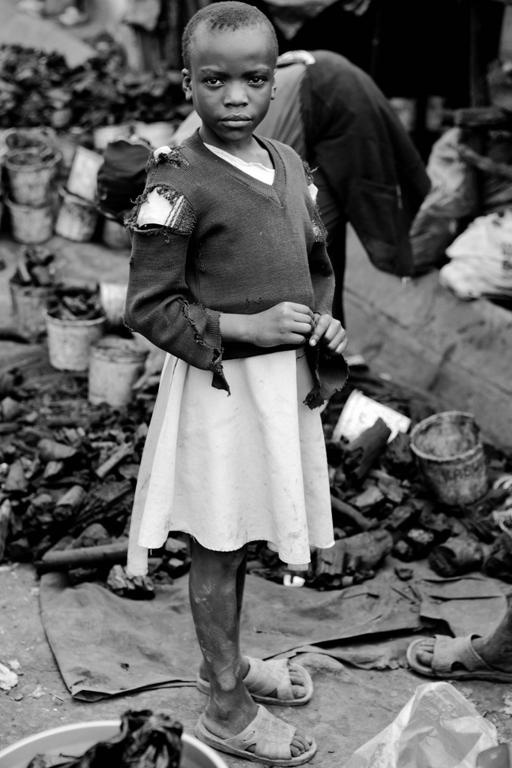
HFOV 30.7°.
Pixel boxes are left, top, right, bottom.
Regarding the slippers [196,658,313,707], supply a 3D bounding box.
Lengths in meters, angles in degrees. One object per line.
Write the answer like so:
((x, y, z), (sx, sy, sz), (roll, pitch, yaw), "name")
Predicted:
((0.002, 0.902, 2.883), (0.356, 0.117, 0.164), (1, 29, 13), "slippers")

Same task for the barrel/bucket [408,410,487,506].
((0.838, 0.342, 4.092), (0.276, 0.261, 0.250), (-31, 23, -4), "barrel/bucket")

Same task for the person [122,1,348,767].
((-0.047, 0.052, 2.534), (0.564, 2.025, 0.538), (3, 21, 5), "person")
